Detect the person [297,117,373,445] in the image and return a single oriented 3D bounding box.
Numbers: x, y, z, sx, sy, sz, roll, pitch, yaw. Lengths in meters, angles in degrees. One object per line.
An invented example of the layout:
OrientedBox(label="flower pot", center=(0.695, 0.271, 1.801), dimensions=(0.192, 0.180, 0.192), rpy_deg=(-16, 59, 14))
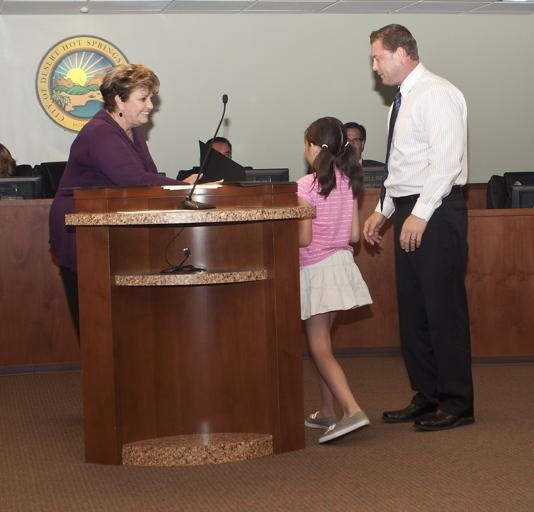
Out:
OrientedBox(label="person", center=(0.291, 0.095, 2.452), dimensions=(0.313, 1.429, 0.571), rpy_deg=(-1, 1, 11))

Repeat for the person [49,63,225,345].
OrientedBox(label="person", center=(-0.674, -0.236, 2.459), dimensions=(0.536, 0.950, 0.719), rpy_deg=(-1, 1, -22))

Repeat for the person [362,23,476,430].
OrientedBox(label="person", center=(0.707, -0.130, 2.602), dimensions=(0.442, 1.844, 0.418), rpy_deg=(-1, 1, 27))

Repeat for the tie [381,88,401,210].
OrientedBox(label="tie", center=(0.587, -0.574, 2.644), dimensions=(0.054, 0.773, 0.041), rpy_deg=(6, -16, 11))

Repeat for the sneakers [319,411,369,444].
OrientedBox(label="sneakers", center=(0.302, 0.695, 2.320), dimensions=(0.101, 0.092, 0.289), rpy_deg=(-7, -22, -40))

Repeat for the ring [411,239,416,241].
OrientedBox(label="ring", center=(0.636, -0.068, 2.430), dimensions=(0.013, 0.014, 0.008), rpy_deg=(-1, 1, -3))

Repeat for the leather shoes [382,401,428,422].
OrientedBox(label="leather shoes", center=(0.669, 0.756, 2.686), dimensions=(0.231, 0.109, 0.090), rpy_deg=(-3, 0, -6))

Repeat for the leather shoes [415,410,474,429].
OrientedBox(label="leather shoes", center=(0.814, 0.722, 2.569), dimensions=(0.244, 0.100, 0.104), rpy_deg=(0, -7, -13))

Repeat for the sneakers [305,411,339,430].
OrientedBox(label="sneakers", center=(0.254, 0.778, 2.636), dimensions=(0.144, 0.068, 0.064), rpy_deg=(6, 6, 37))
